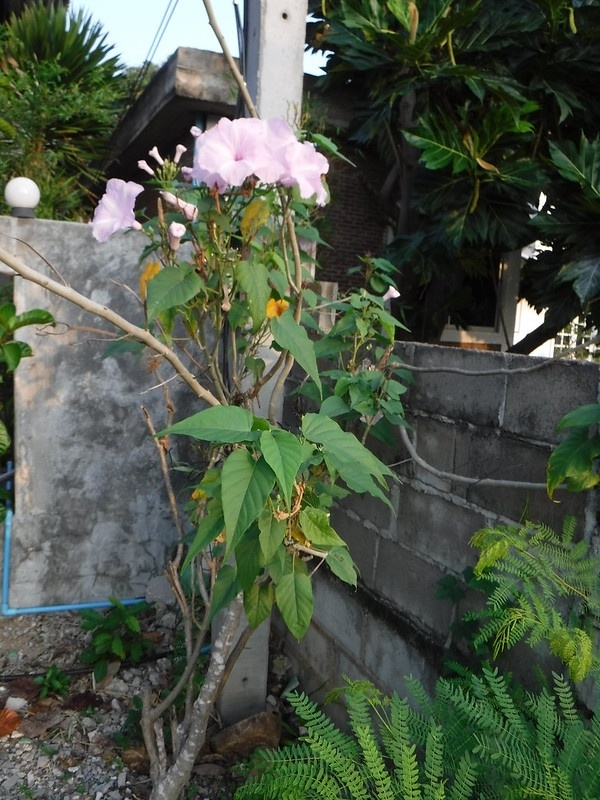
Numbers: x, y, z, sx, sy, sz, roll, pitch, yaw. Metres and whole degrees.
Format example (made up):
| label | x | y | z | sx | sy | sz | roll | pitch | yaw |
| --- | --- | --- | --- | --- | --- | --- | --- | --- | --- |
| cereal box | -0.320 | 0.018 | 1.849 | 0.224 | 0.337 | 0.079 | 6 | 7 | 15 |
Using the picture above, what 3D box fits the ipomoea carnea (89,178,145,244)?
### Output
| label | x | y | z | sx | sy | sz | roll | pitch | yaw |
| --- | --- | --- | --- | --- | --- | --- | --- | --- | --- |
| ipomoea carnea | -0.368 | -0.373 | 1.130 | 0.094 | 0.098 | 0.222 | 4 | 1 | -19 |
